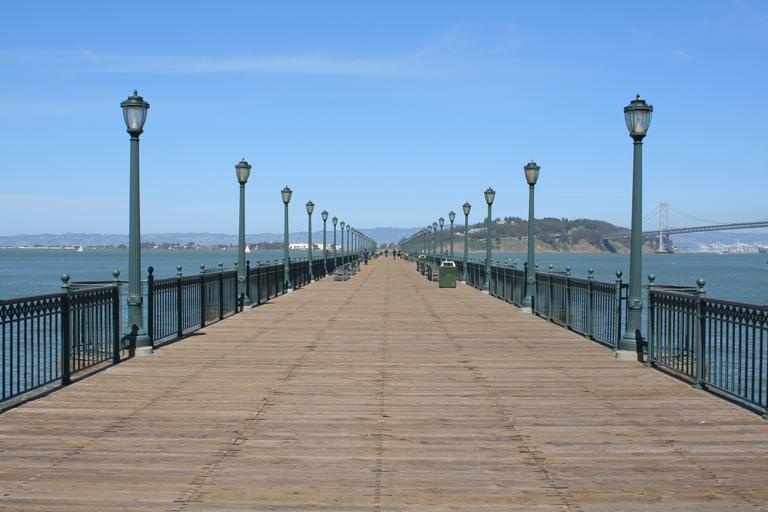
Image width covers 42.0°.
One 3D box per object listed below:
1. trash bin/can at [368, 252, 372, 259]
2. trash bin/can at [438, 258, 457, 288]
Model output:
[{"bbox_3d":[-1.749,0.040,125.458,0.497,0.756,0.835,1,1,0],"label":"trash bin/can"},{"bbox_3d":[2.675,0.826,41.936,0.674,0.824,1.003,2,10,10],"label":"trash bin/can"}]
